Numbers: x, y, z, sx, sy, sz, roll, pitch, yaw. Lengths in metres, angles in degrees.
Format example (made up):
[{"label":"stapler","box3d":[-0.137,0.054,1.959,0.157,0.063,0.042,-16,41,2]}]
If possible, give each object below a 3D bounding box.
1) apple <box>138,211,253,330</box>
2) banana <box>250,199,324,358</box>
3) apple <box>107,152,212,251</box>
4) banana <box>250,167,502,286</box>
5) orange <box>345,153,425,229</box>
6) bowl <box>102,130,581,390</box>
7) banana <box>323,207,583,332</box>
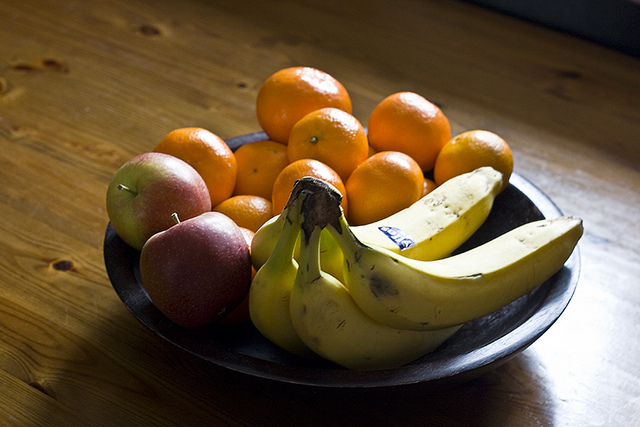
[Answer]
[{"label":"apple","box3d":[-0.205,0.090,1.038,0.178,0.179,0.186,-10,92,-12]},{"label":"banana","box3d":[-0.072,0.098,0.975,0.121,0.138,0.231,0,75,-18]},{"label":"apple","box3d":[-0.282,-0.014,1.118,0.183,0.159,0.161,3,58,-48]},{"label":"banana","box3d":[0.130,0.028,1.048,0.406,0.116,0.146,-13,109,-25]},{"label":"orange","box3d":[0.110,-0.036,1.070,0.082,0.080,0.100,41,68,-23]},{"label":"bowl","box3d":[0.176,0.124,0.880,0.435,0.451,0.106,-21,70,17]},{"label":"banana","box3d":[0.209,0.088,0.948,0.411,0.107,0.150,0,56,-13]}]
